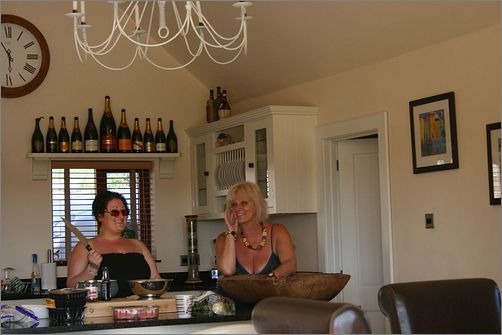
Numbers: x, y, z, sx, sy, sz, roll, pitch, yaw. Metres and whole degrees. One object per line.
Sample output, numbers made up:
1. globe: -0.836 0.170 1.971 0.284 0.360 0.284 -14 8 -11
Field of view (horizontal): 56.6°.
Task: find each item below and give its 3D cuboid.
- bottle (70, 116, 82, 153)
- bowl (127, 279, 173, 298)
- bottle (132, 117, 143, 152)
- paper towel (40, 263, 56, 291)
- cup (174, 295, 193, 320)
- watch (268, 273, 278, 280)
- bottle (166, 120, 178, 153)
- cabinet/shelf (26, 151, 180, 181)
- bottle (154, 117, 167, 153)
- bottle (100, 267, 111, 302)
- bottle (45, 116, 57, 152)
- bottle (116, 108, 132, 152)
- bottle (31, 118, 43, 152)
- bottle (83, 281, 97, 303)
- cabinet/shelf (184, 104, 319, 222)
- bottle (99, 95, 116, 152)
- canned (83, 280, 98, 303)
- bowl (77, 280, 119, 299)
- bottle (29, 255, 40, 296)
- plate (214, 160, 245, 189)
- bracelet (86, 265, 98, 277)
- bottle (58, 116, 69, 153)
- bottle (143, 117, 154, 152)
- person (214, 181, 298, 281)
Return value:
1. bottle: -1.997 -0.375 5.331 0.127 0.431 0.112 3 -10 -22
2. bowl: -0.632 0.758 2.902 0.251 0.112 0.154 1 -10 -13
3. bottle: -1.348 -0.377 5.523 0.110 0.421 0.115 -1 -10 0
4. paper towel: -2.233 1.201 5.111 0.179 0.295 0.208 3 -11 -24
5. cup: -0.376 0.782 2.617 0.101 0.115 0.106 -1 -16 0
6. watch: 0.124 0.617 2.629 0.025 0.026 0.047 3 2 34
7. bottle: -0.953 -0.376 5.621 0.149 0.425 0.139 -1 -10 0
8. cabinet/shelf: -1.700 -0.005 5.412 1.651 0.323 0.335 1 -10 -16
9. bottle: -1.083 -0.383 5.586 0.134 0.435 0.122 1 -10 -14
10. bottle: -0.892 0.718 2.854 0.061 0.187 0.164 1 -10 -17
11. bottle: -2.248 -0.372 5.256 0.119 0.415 0.089 3 -10 -24
12. bottle: -1.488 -0.426 5.469 0.171 0.533 0.156 -1 -10 0
13. bottle: -2.399 -0.365 5.220 0.138 0.424 0.126 -1 -10 0
14. bottle: -0.967 0.746 2.799 0.079 0.114 0.062 3 -11 -25
15. cabinet/shelf: -0.091 0.023 5.232 0.508 1.111 1.584 3 -9 -39
16. bottle: -1.660 -0.500 5.412 0.192 0.684 0.114 1 -10 -13
17. canned: -0.950 0.750 2.795 0.104 0.121 0.105 1 -10 -10
18. bowl: -0.937 0.746 2.875 0.158 0.089 0.150 1 -16 0
19. bottle: -2.343 1.152 5.060 0.101 0.408 0.244 3 -11 -25
20. plate: -0.215 0.075 4.930 0.099 0.274 0.285 6 -10 -34
21. bracelet: -1.100 0.712 3.227 0.081 0.043 0.108 32 -9 -18
22. bottle: -2.129 -0.372 5.289 0.130 0.429 0.109 2 -10 -22
23. bottle: -1.219 -0.381 5.573 0.128 0.413 0.080 1 -10 -15
24. person: 0.010 0.480 3.321 0.481 0.728 0.619 -5 -26 4
